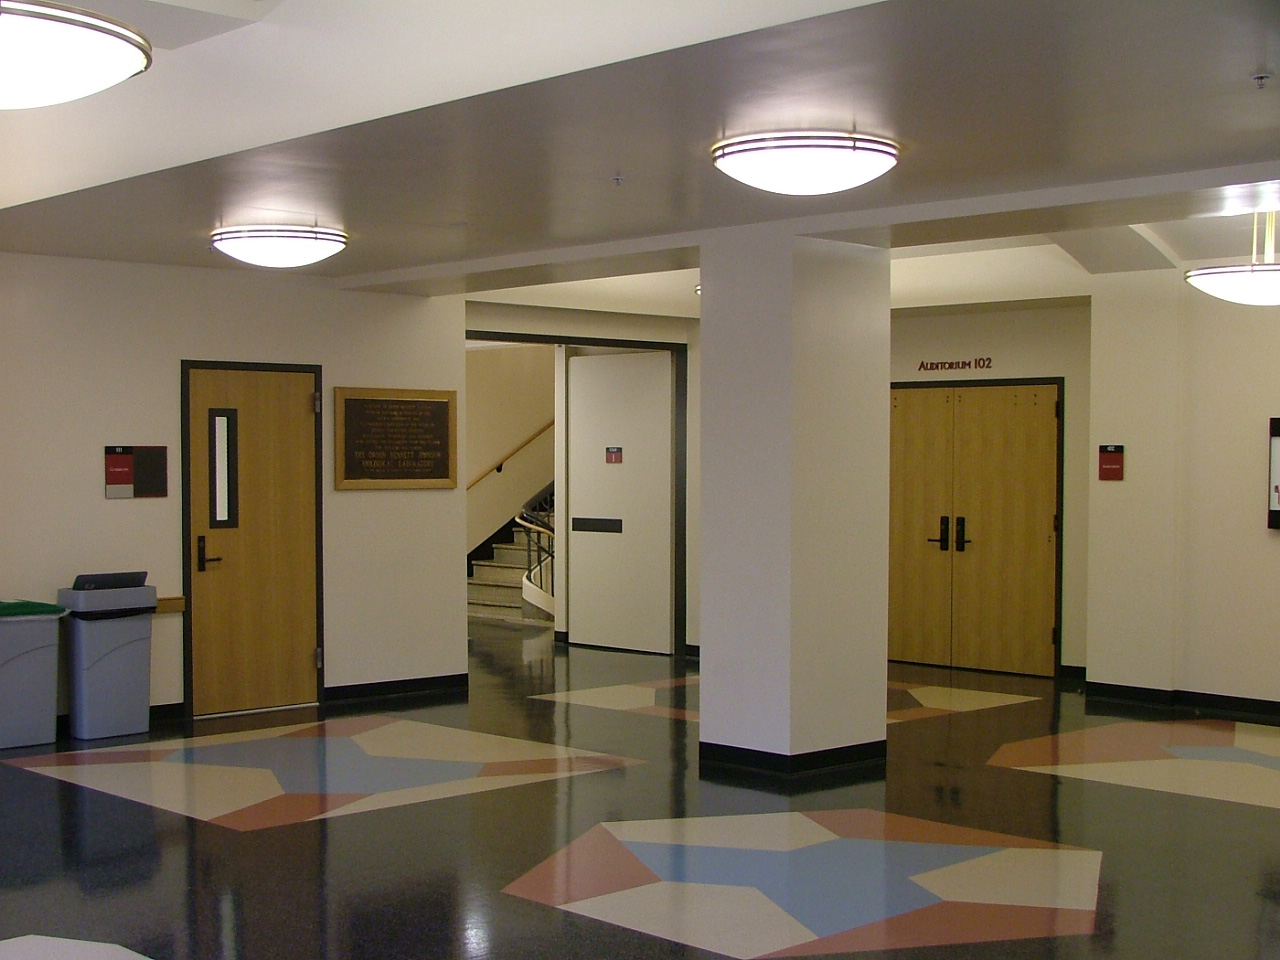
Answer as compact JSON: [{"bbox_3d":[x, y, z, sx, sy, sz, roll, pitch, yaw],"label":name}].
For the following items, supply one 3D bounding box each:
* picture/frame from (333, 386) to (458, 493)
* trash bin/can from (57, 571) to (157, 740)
[{"bbox_3d":[-2.249,-0.369,8.910,0.909,0.764,0.060,-3,4,-36],"label":"picture/frame"},{"bbox_3d":[-4.012,1.374,7.461,0.649,1.140,0.293,0,0,-20],"label":"trash bin/can"}]
